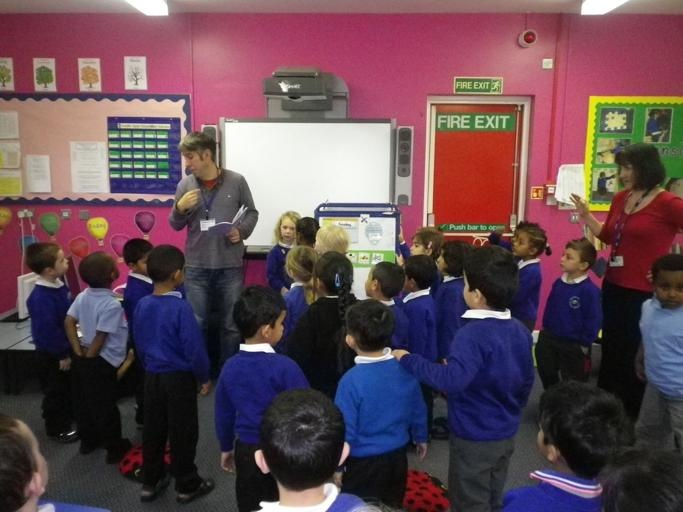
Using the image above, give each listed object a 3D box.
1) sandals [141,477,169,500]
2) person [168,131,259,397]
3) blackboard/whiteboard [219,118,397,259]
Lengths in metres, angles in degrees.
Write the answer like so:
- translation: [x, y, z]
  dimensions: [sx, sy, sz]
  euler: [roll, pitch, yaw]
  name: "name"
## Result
- translation: [-1.125, 1.398, 3.526]
  dimensions: [0.063, 0.084, 0.190]
  euler: [6, 17, 19]
  name: "sandals"
- translation: [-0.968, 0.060, 4.476]
  dimensions: [0.635, 1.927, 0.629]
  euler: [-2, 11, -18]
  name: "person"
- translation: [-0.271, -0.658, 5.081]
  dimensions: [1.255, 1.020, 0.046]
  euler: [0, 2, 0]
  name: "blackboard/whiteboard"
